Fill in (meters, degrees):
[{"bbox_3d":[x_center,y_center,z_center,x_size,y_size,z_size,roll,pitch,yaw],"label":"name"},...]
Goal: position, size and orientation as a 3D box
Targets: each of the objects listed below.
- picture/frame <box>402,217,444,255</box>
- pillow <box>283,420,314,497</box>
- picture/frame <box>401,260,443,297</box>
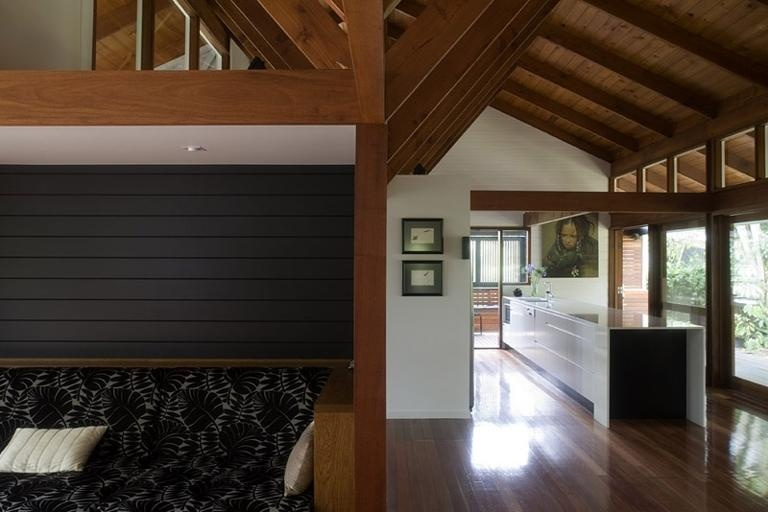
[{"bbox_3d":[0.479,-0.241,7.411,0.461,0.367,0.049,0,-3,-1],"label":"picture/frame"},{"bbox_3d":[-0.746,1.818,5.287,0.304,0.489,0.577,2,-6,0],"label":"pillow"},{"bbox_3d":[0.472,0.291,7.416,0.462,0.377,0.050,0,-4,-1],"label":"picture/frame"}]
